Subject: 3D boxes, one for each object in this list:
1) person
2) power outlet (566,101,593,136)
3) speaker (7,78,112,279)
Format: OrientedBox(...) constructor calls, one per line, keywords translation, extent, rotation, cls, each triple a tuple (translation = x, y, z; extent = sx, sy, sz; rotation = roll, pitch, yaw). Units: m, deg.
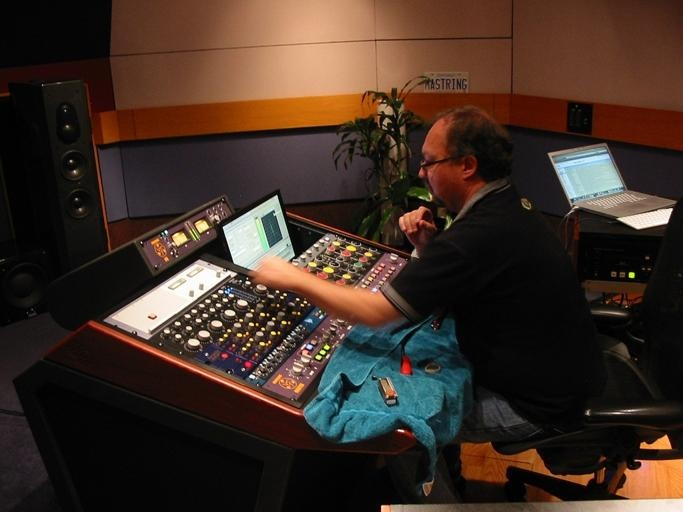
OrientedBox(translation=(0.512, -0.043, 2.454), extent=(1.388, 1.666, 1.047), rotation=(11, 24, 33), cls="person")
OrientedBox(translation=(1.751, -1.022, 3.924), extent=(0.053, 0.212, 0.230), rotation=(-9, 17, -41), cls="power outlet")
OrientedBox(translation=(-2.021, -0.521, 3.753), extent=(0.596, 1.345, 0.252), rotation=(1, 18, 11), cls="speaker")
